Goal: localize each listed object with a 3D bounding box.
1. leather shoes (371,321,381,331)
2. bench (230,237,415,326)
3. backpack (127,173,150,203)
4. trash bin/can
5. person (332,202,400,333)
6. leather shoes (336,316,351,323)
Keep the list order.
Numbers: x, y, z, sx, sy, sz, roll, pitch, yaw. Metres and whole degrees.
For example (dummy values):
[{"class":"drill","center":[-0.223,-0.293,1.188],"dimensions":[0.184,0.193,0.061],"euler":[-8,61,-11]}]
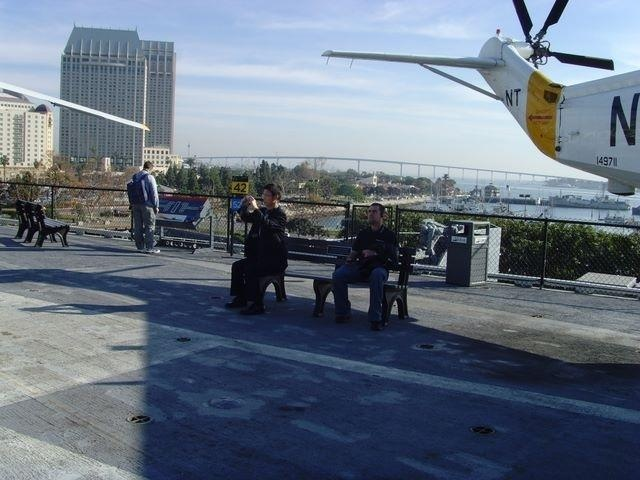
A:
[{"class":"leather shoes","center":[0.813,1.252,8.798],"dimensions":[0.157,0.150,0.094],"euler":[6,-7,-35]},{"class":"bench","center":[0.482,0.683,10.571],"dimensions":[1.007,1.185,3.007],"euler":[-7,-2,-15]},{"class":"backpack","center":[-4.632,-1.318,15.241],"dimensions":[0.554,0.841,0.314],"euler":[10,12,37]},{"class":"trash bin/can","center":[3.265,0.268,13.241],"dimensions":[0.936,1.415,0.777],"euler":[3,9,1]},{"class":"person","center":[0.681,0.339,9.270],"dimensions":[0.951,1.823,1.131],"euler":[5,9,11]},{"class":"leather shoes","center":[0.343,1.211,9.202],"dimensions":[0.237,0.112,0.077],"euler":[-1,10,-20]}]
